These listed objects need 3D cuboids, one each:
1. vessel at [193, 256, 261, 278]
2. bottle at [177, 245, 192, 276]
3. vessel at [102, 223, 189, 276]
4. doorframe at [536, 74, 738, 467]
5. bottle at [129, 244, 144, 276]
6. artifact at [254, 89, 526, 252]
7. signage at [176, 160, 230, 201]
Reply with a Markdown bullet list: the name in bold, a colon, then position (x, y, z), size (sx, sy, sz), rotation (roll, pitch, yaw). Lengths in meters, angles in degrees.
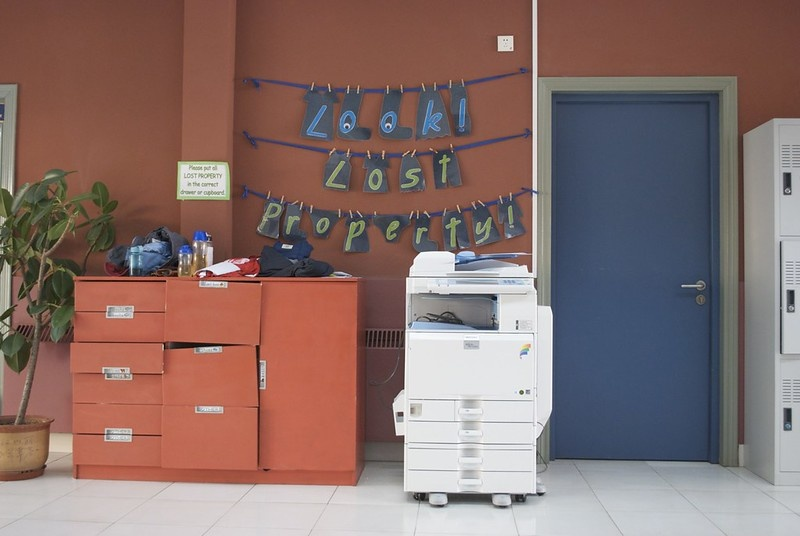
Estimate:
- **vessel**: position (-1.212, -0.002, 5.415), size (0.457, 0.110, 0.252), rotation (-2, 15, -10)
- **bottle**: position (-1.522, -0.056, 5.479), size (0.093, 0.198, 0.074), rotation (-3, 15, -13)
- **vessel**: position (-1.836, -0.113, 5.551), size (0.444, 0.200, 0.381), rotation (-12, 22, -33)
- **doorframe**: position (1.787, -0.021, 5.818), size (1.631, 2.788, 0.745), rotation (3, 15, 10)
- **bottle**: position (-1.861, -0.050, 5.452), size (0.088, 0.189, 0.139), rotation (-1, 15, -5)
- **artifact**: position (-0.089, -0.783, 5.832), size (2.147, 1.135, 0.304), rotation (1, 14, 2)
- **signage**: position (-1.461, -0.659, 5.769), size (0.307, 0.227, 0.034), rotation (0, 0, 1)
